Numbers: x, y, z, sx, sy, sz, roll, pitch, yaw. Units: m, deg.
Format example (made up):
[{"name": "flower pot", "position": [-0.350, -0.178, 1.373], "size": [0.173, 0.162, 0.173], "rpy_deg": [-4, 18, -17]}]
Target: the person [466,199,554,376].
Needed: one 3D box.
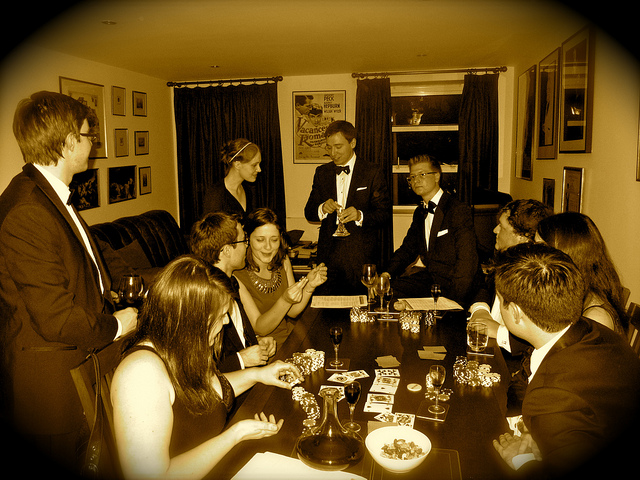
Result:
[{"name": "person", "position": [1.380, 0.306, 3.330], "size": [0.371, 1.261, 0.349], "rpy_deg": [-10, 30, 9]}]

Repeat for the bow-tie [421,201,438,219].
[{"name": "bow-tie", "position": [0.907, -0.262, 4.025], "size": [0.031, 0.108, 0.105], "rpy_deg": [1, -28, -27]}]

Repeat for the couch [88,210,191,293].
[{"name": "couch", "position": [-1.484, 0.059, 3.874], "size": [0.214, 0.285, 0.690], "rpy_deg": [-17, 20, 5]}]

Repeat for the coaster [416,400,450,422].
[{"name": "coaster", "position": [0.468, 0.711, 2.004], "size": [0.120, 0.026, 0.136], "rpy_deg": [2, 8, 22]}]

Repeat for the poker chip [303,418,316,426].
[{"name": "poker chip", "position": [-0.042, 0.713, 1.889], "size": [0.047, 0.019, 0.043], "rpy_deg": [0, 8, 2]}]

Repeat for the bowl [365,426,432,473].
[{"name": "bowl", "position": [0.279, 0.762, 1.757], "size": [0.217, 0.082, 0.178], "rpy_deg": [4, 9, 30]}]

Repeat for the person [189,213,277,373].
[{"name": "person", "position": [-0.488, 0.253, 2.639], "size": [0.411, 0.782, 0.787], "rpy_deg": [-3, 8, -16]}]

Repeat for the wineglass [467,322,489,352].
[{"name": "wineglass", "position": [0.787, 0.486, 2.415], "size": [0.122, 0.142, 0.128], "rpy_deg": [1, -6, -13]}]

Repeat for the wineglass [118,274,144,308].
[{"name": "wineglass", "position": [-0.957, 0.258, 2.441], "size": [0.141, 0.207, 0.151], "rpy_deg": [0, 1, -5]}]

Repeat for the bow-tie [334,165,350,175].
[{"name": "bow-tie", "position": [0.199, -0.647, 4.399], "size": [0.139, 0.079, 0.105], "rpy_deg": [-1, 8, 0]}]

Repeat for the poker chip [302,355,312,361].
[{"name": "poker chip", "position": [-0.063, 0.571, 2.327], "size": [0.045, 0.018, 0.034], "rpy_deg": [-1, 8, -2]}]

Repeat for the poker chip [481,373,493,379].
[{"name": "poker chip", "position": [0.753, 0.619, 2.183], "size": [0.046, 0.021, 0.023], "rpy_deg": [2, 8, 19]}]

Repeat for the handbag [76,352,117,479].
[{"name": "handbag", "position": [-0.858, 0.679, 1.858], "size": [0.118, 0.484, 0.328], "rpy_deg": [-7, 1, -30]}]

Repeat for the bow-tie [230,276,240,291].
[{"name": "bow-tie", "position": [-0.483, 0.265, 2.817], "size": [0.028, 0.090, 0.060], "rpy_deg": [-22, 20, -16]}]

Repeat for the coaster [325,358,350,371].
[{"name": "coaster", "position": [0.085, 0.616, 2.391], "size": [0.118, 0.017, 0.136], "rpy_deg": [0, 8, 4]}]

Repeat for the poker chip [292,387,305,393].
[{"name": "poker chip", "position": [-0.099, 0.656, 2.104], "size": [0.054, 0.014, 0.039], "rpy_deg": [2, 8, 20]}]

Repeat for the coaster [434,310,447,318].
[{"name": "coaster", "position": [0.759, 0.464, 3.040], "size": [0.040, 0.020, 0.065], "rpy_deg": [6, 9, 37]}]

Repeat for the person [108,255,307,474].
[{"name": "person", "position": [-0.466, 0.411, 2.314], "size": [0.779, 1.473, 0.718], "rpy_deg": [-3, 17, -9]}]

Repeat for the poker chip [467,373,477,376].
[{"name": "poker chip", "position": [0.695, 0.619, 2.208], "size": [0.034, 0.007, 0.009], "rpy_deg": [-1, 8, -3]}]

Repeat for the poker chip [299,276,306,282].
[{"name": "poker chip", "position": [-0.104, 0.235, 2.847], "size": [0.048, 0.012, 0.050], "rpy_deg": [-27, -3, 6]}]

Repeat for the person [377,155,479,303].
[{"name": "person", "position": [0.896, -0.114, 3.913], "size": [0.652, 1.153, 0.686], "rpy_deg": [-5, 9, -27]}]

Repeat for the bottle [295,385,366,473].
[{"name": "bottle", "position": [0.038, 0.685, 1.816], "size": [0.251, 0.263, 0.261], "rpy_deg": [0, -3, 0]}]
